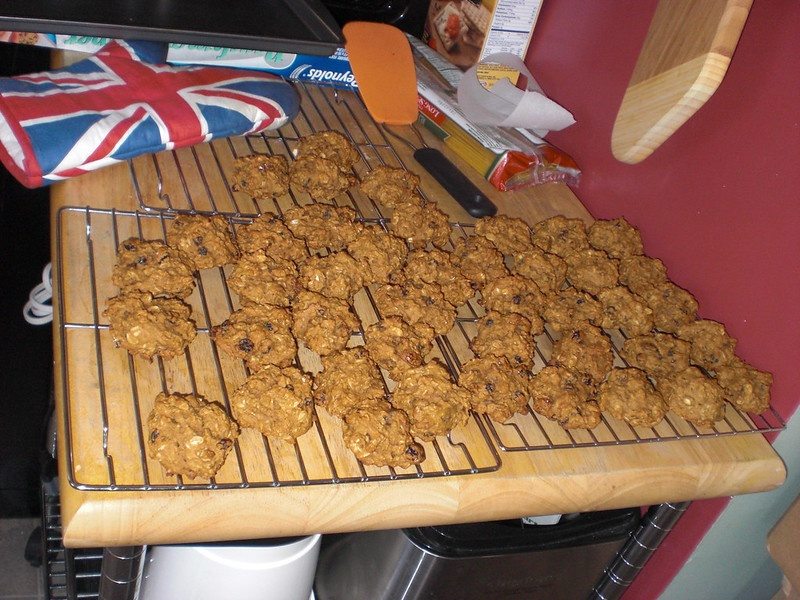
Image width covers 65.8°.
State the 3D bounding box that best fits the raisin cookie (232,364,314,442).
[{"bbox_3d":[-0.245,0.204,1.202,0.153,0.108,0.115,1,34,-14],"label":"raisin cookie"}]

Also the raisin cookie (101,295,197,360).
[{"bbox_3d":[-0.495,0.048,1.239,0.176,0.057,0.125,8,68,-17],"label":"raisin cookie"}]

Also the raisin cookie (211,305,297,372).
[{"bbox_3d":[-0.293,0.076,1.281,0.187,0.146,0.042,10,-7,17],"label":"raisin cookie"}]

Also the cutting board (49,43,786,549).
[{"bbox_3d":[-0.004,0.029,1.513,1.609,0.383,0.972,1,33,-14],"label":"cutting board"}]

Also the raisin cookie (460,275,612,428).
[{"bbox_3d":[0.264,0.115,1.408,0.333,0.077,0.319,10,64,-7],"label":"raisin cookie"}]

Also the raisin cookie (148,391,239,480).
[{"bbox_3d":[-0.385,0.250,1.137,0.157,0.098,0.128,10,32,-1],"label":"raisin cookie"}]
